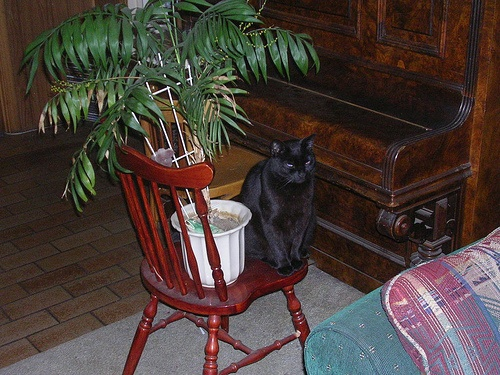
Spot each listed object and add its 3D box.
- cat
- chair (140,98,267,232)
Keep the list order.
[{"bbox_3d":[0.138,0.041,1.977,0.363,0.619,0.507,-8,18,-21],"label":"cat"},{"bbox_3d":[-0.238,-0.096,2.289,0.922,0.620,0.657,1,-2,-8],"label":"chair"}]
